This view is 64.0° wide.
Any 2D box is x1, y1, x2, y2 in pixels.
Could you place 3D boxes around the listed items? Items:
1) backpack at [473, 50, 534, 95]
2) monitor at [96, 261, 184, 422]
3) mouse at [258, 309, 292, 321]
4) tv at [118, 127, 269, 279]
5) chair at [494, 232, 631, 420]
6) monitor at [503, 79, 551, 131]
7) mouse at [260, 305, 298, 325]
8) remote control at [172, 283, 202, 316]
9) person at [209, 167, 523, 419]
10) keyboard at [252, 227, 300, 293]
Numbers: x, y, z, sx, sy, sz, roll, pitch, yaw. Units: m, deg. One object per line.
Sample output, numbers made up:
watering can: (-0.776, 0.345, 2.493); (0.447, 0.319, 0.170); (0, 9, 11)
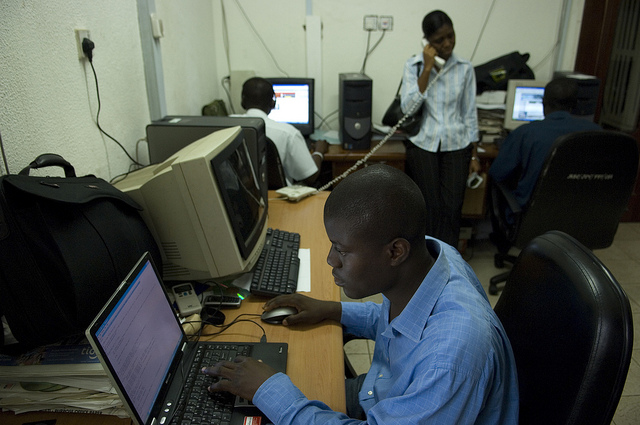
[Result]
backpack: (1.406, -1.079, 3.947); (0.412, 0.319, 0.119); (-9, -16, -11)
monitor: (-0.582, 0.424, 1.625); (0.027, 0.301, 0.422); (-14, 34, 18)
mouse: (-0.175, 0.391, 1.958); (0.078, 0.023, 0.057); (3, 9, -2)
tv: (-0.592, -0.031, 2.209); (0.651, 0.523, 0.550); (-5, 21, 8)
chair: (0.767, 0.388, 1.642); (0.266, 0.487, 0.479); (-2, 24, 0)
monitor: (1.626, -0.789, 3.780); (0.202, 0.345, 0.365); (-12, 20, -36)
mouse: (-0.152, 0.395, 1.961); (0.098, 0.033, 0.072); (5, 23, -10)
remote control: (-0.528, 0.344, 2.019); (0.084, 0.039, 0.153); (-10, 39, -27)
person: (0.073, 0.200, 1.932); (1.005, 1.051, 0.771); (4, 22, 6)
keyboard: (-0.186, 0.214, 2.247); (0.180, 0.051, 0.486); (10, 27, -4)
